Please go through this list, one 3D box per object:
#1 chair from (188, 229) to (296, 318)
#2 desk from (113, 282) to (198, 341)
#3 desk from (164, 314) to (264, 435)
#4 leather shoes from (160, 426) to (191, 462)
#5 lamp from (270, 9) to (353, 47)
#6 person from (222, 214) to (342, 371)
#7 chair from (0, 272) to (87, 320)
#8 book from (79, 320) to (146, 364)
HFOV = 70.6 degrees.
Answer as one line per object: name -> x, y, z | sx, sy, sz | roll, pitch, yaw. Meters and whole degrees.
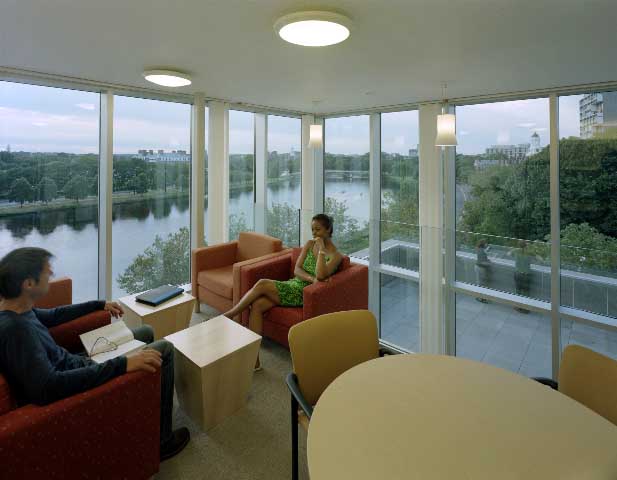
chair -> -0.796, 0.348, 5.336 | 0.933, 1.117, 1.001 | 7, 9, 40
desk -> -1.472, 0.650, 4.236 | 0.434, 0.555, 0.523 | 5, 5, 39
desk -> -0.773, 0.957, 3.621 | 0.594, 0.756, 0.762 | 7, 7, 44
leather shoes -> -0.946, 1.445, 3.125 | 0.083, 0.111, 0.242 | 13, 22, 25
lamp -> 0.033, -1.514, 3.112 | 0.531, 0.141, 0.318 | -1, 8, 4
person -> -0.290, 0.485, 4.440 | 1.229, 1.720, 0.589 | 9, -1, -31
chair -> -2.205, 0.510, 3.702 | 0.454, 0.568, 0.466 | 1, 3, -41
book -> -1.421, 0.730, 3.129 | 0.245, 0.107, 0.266 | -15, 37, -41
